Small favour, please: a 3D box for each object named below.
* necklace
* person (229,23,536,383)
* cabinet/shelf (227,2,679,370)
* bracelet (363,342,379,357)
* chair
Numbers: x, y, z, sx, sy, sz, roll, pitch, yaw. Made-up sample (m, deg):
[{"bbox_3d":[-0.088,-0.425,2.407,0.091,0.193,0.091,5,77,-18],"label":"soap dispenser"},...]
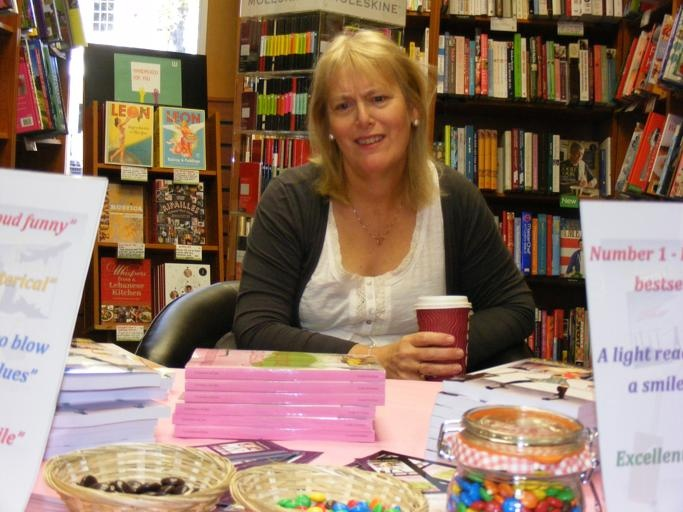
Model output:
[{"bbox_3d":[0.067,-0.131,1.872,0.211,0.201,0.241,2,5,-6],"label":"necklace"},{"bbox_3d":[0.137,-0.082,1.871,0.930,1.132,0.872,-3,5,-15],"label":"person"},{"bbox_3d":[0.259,-0.149,1.895,1.040,1.230,0.846,-2,5,-11],"label":"cabinet/shelf"},{"bbox_3d":[0.071,0.215,1.431,0.053,0.022,0.041,-4,8,-17],"label":"bracelet"},{"bbox_3d":[-0.407,0.139,1.687,0.222,0.254,0.225,-3,13,-23],"label":"chair"}]
